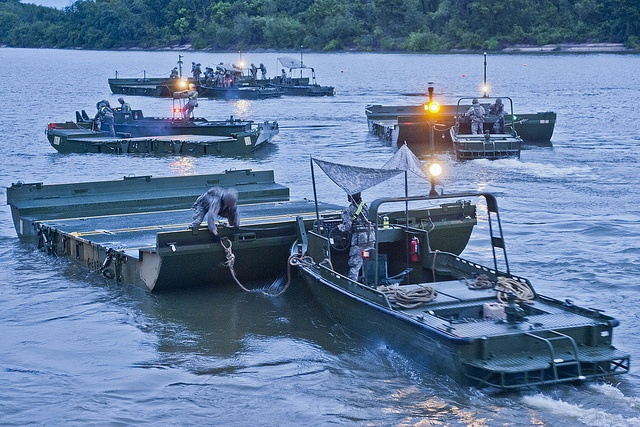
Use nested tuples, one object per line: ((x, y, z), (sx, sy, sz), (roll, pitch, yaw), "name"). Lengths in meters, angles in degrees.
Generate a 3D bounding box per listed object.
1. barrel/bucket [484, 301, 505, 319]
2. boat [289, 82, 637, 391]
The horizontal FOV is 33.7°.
((4.472, 2.571, 27.584), (0.579, 0.344, 0.549), (-4, 12, 1), "barrel/bucket")
((2.437, 2.097, 29.862), (4.728, 3.855, 10.594), (-8, 14, -29), "boat")
